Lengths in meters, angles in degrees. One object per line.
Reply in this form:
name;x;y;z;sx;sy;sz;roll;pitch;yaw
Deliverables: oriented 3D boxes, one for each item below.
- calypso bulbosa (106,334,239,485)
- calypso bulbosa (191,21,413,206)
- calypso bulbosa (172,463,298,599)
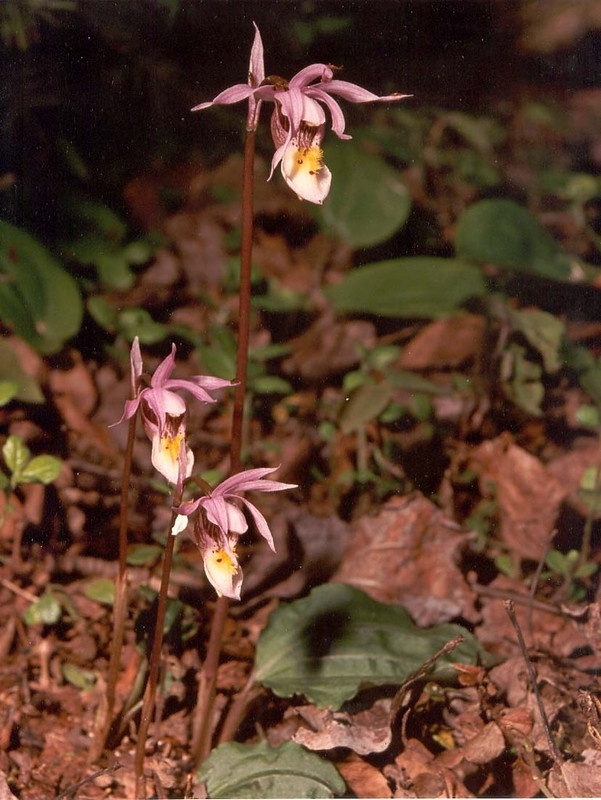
calypso bulbosa;-0.153;0.002;1.003;0.157;0.096;0.191;2;42;-23
calypso bulbosa;-0.019;-0.331;0.986;0.159;0.173;0.163;-20;34;-30
calypso bulbosa;-0.082;0.155;0.993;0.152;0.145;0.117;-11;-5;41
